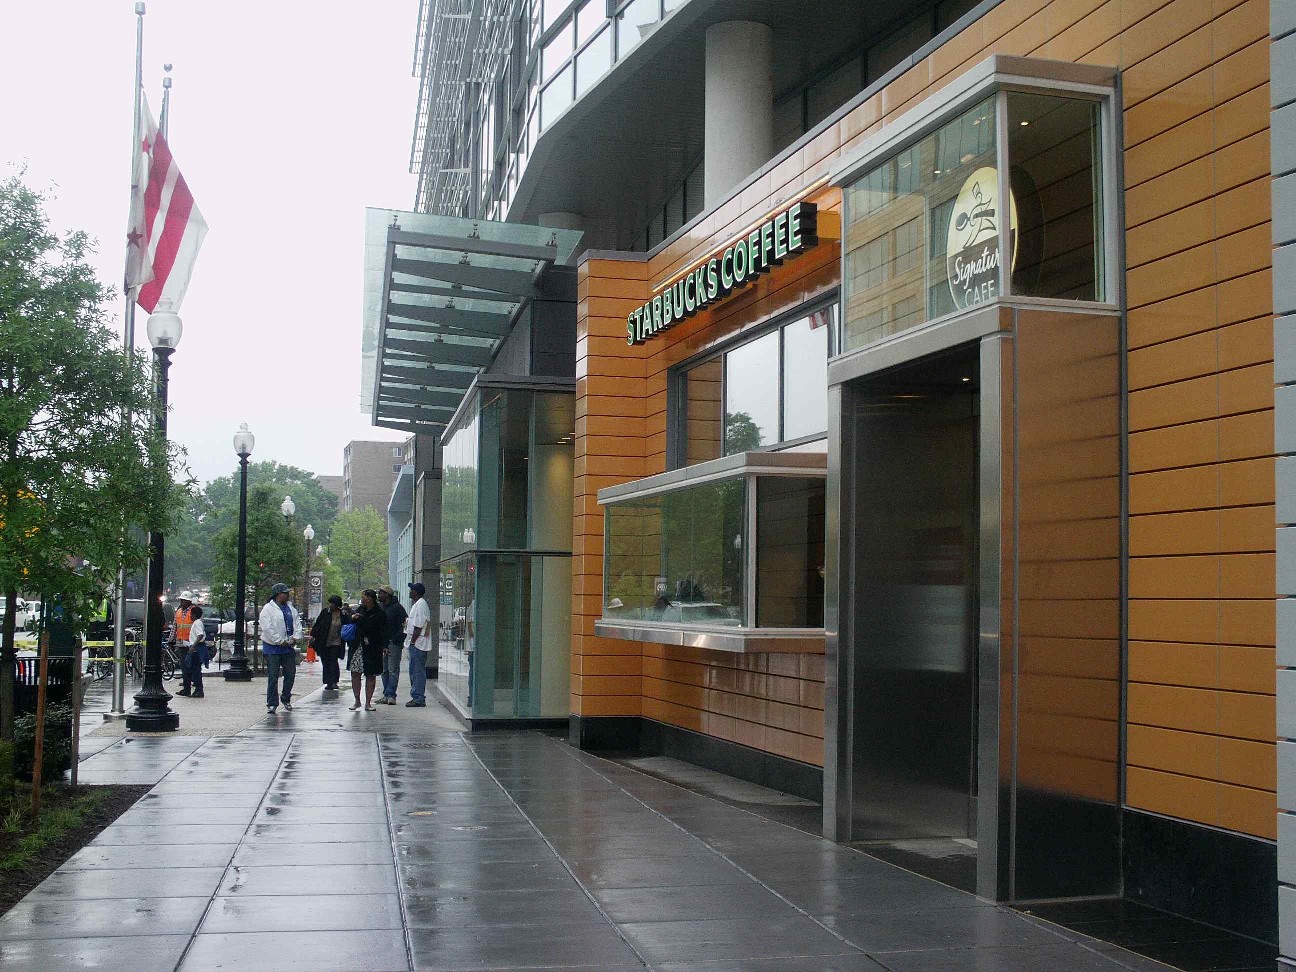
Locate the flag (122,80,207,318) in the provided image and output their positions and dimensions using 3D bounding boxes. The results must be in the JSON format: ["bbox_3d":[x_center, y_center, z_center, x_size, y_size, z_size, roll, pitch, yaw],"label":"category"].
[{"bbox_3d":[-7.143,-4.178,18.246,1.105,3.315,0.645,4,-8,-35],"label":"flag"}]

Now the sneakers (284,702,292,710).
[{"bbox_3d":[-5.916,3.653,20.275,0.142,0.090,0.146,4,-7,-17],"label":"sneakers"}]
